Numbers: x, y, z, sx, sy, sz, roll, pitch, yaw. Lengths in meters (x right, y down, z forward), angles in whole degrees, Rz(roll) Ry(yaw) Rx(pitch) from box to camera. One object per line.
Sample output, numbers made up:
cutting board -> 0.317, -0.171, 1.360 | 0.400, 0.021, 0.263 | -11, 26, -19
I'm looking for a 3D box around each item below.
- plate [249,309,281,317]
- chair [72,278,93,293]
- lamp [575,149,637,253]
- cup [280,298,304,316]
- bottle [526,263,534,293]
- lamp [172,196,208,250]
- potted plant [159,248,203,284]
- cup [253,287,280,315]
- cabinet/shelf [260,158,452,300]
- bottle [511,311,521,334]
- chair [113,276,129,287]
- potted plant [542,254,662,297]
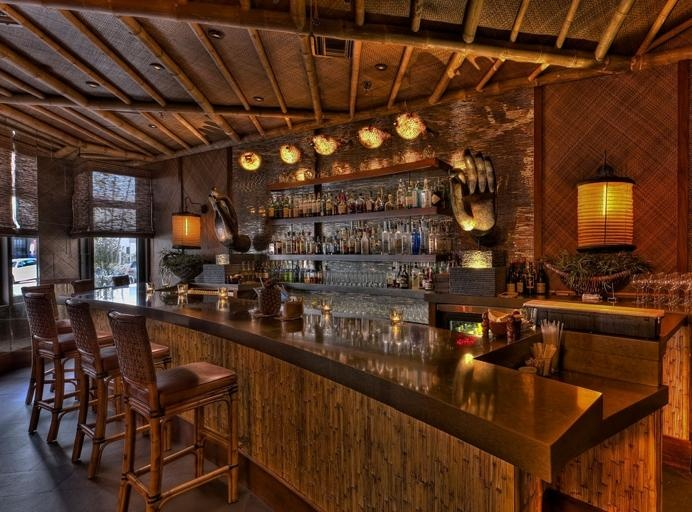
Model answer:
plate -> -0.721, 0.507, 4.524 | 0.270, 0.080, 0.178 | -3, 0, -9
chair -> -3.407, 0.394, 6.551 | 0.260, 0.231, 0.240 | -4, -5, 33
lamp -> 2.494, -0.395, 4.909 | 0.522, 0.641, 0.239 | -4, 1, 21
cup -> -0.471, 0.466, 4.500 | 0.305, 0.202, 0.148 | 0, -5, -4
bottle -> 2.038, 0.239, 5.616 | 0.095, 0.284, 0.235 | -4, 0, 19
lamp -> -2.502, -0.531, 8.182 | 0.541, 0.836, 0.767 | -4, 0, -10
potted plant -> -2.563, 0.156, 8.207 | 0.709, 0.512, 0.692 | 6, -7, -41
cup -> -0.685, 0.401, 4.568 | 0.305, 0.283, 0.245 | -1, -3, -4
cabinet/shelf -> 0.139, -0.295, 6.599 | 2.668, 1.498, 0.635 | -3, 1, 35
bottle -> 1.262, 0.505, 3.812 | 0.077, 0.141, 0.126 | 5, -2, 21
chair -> -3.206, 0.364, 7.240 | 0.193, 0.145, 0.229 | -1, -5, -29
potted plant -> 2.505, 0.146, 5.260 | 0.861, 0.323, 0.737 | -2, 16, 11
